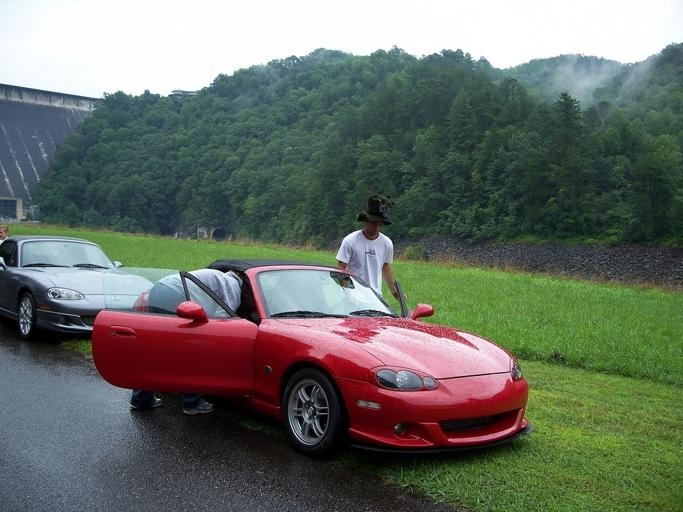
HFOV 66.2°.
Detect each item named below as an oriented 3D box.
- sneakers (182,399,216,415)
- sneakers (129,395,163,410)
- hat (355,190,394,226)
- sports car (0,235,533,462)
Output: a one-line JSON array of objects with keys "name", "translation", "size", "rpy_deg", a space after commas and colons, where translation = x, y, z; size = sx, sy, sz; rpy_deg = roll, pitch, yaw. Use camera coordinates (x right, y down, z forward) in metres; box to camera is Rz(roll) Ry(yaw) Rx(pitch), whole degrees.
[{"name": "sneakers", "translation": [-1.629, 1.724, 5.952], "size": [0.345, 0.153, 0.145], "rpy_deg": [0, 3, -19]}, {"name": "sneakers", "translation": [-2.254, 1.731, 6.055], "size": [0.375, 0.141, 0.135], "rpy_deg": [-7, 23, -35]}, {"name": "hat", "translation": [0.445, -0.665, 7.557], "size": [0.455, 0.357, 0.505], "rpy_deg": [1, 5, -35]}, {"name": "sports car", "translation": [-0.476, 1.009, 5.224], "size": [3.053, 0.876, 2.614], "rpy_deg": [0, -6, 43]}]
